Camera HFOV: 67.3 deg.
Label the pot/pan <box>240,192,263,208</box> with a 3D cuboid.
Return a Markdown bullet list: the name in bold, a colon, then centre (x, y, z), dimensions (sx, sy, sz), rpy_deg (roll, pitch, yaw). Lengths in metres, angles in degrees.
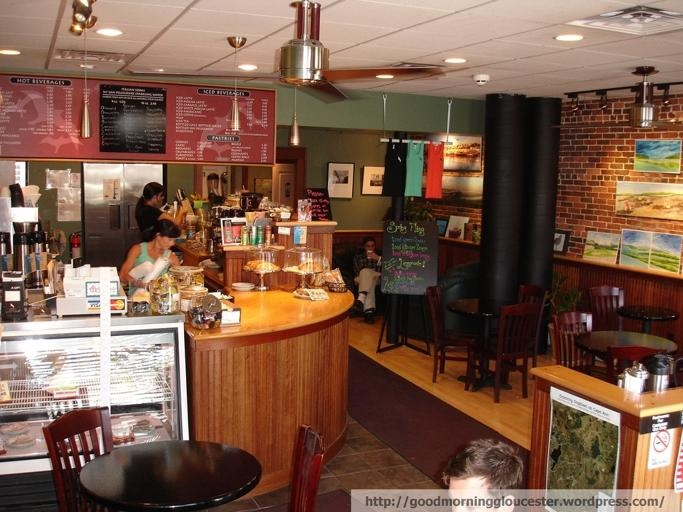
- **pot/pan**: centre (-1.094, -0.671, 6.179), dimensions (0.317, 0.194, 0.228), rpy_deg (1, 0, -2)

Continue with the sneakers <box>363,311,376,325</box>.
- **sneakers**: centre (0.498, 1.063, 8.961), dimensions (0.257, 0.260, 0.680), rpy_deg (-1, -3, -1)

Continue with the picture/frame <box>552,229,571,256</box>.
- **picture/frame**: centre (3.308, -0.208, 7.665), dimensions (0.037, 0.406, 0.396), rpy_deg (13, 4, -28)

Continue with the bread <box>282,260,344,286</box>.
- **bread**: centre (-0.233, 0.210, 5.404), dimensions (0.457, 0.142, 0.376), rpy_deg (0, 9, -3)

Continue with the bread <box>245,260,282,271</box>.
- **bread**: centre (-0.806, 0.105, 5.165), dimensions (0.347, 0.141, 0.188), rpy_deg (1, 10, 0)

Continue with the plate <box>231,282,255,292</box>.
- **plate**: centre (-1.015, 0.307, 5.325), dimensions (0.239, 0.061, 0.266), rpy_deg (-1, 9, -11)

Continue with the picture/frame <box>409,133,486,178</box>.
- **picture/frame**: centre (2.382, -1.967, 9.897), dimensions (0.341, 0.731, 1.084), rpy_deg (-2, 11, -17)
